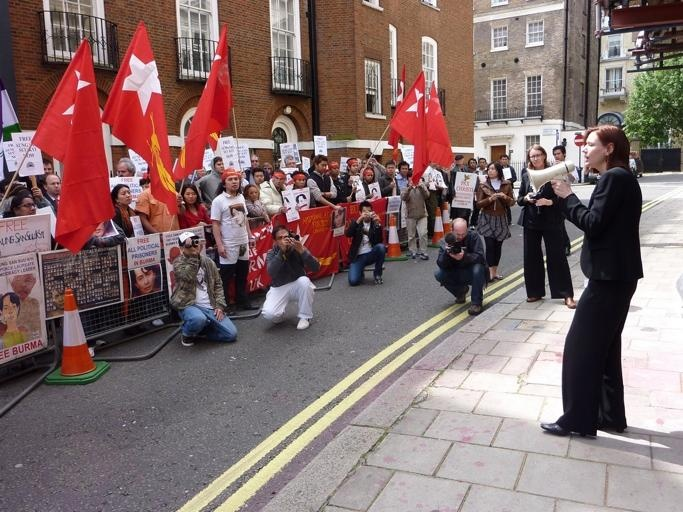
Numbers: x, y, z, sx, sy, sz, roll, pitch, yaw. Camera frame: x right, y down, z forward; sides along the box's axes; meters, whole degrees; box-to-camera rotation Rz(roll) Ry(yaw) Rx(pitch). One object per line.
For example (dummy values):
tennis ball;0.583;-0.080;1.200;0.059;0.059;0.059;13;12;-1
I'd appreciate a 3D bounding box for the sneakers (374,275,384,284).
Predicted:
sneakers;0.723;0.479;10.263;0.151;0.205;0.469;-1;-1;2

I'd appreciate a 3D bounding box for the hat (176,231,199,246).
hat;-2.166;-0.201;7.419;0.243;0.151;0.179;-22;-2;37

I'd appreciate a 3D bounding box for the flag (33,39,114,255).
flag;-3.354;-1.358;6.582;0.822;2.550;1.289;-11;13;-28

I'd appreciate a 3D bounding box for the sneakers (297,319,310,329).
sneakers;-0.548;1.001;7.742;0.185;0.120;0.251;-7;12;-6

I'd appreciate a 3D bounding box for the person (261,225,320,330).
person;-0.754;0.302;7.876;0.769;1.467;0.630;-2;12;16

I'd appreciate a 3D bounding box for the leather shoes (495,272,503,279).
leather shoes;3.050;0.411;10.237;0.083;0.118;0.283;-6;-9;0

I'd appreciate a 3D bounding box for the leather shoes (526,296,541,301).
leather shoes;2.996;0.680;8.275;0.225;0.097;0.078;2;3;-18

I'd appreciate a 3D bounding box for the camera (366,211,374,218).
camera;0.561;-0.785;10.364;0.121;0.122;0.030;1;-7;-12

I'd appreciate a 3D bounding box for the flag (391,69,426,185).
flag;1.557;-2.827;11.839;0.730;2.417;0.777;4;14;37

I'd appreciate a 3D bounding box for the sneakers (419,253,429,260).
sneakers;1.948;0.039;12.531;0.144;0.157;0.349;-2;-2;-2

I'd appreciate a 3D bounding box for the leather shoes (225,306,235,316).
leather shoes;-1.760;0.915;8.557;0.092;0.196;0.255;0;-7;-43

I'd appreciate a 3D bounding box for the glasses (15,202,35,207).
glasses;-3.910;-0.615;6.588;0.055;0.063;0.187;3;15;35

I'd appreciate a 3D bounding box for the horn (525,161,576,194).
horn;1.841;-0.676;4.612;0.333;0.340;0.219;-26;14;10

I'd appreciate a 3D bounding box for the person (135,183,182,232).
person;-2.803;-0.706;8.149;0.386;0.761;0.750;-2;3;28

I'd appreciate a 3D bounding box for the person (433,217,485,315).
person;1.994;0.150;8.488;0.727;1.377;0.922;-12;14;-31

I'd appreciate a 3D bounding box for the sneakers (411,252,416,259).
sneakers;1.728;0.029;12.618;0.078;0.125;0.123;1;-6;5

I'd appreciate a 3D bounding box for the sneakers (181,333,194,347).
sneakers;-2.078;1.136;7.164;0.153;0.174;0.175;-8;12;-11

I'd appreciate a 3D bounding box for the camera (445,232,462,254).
camera;1.826;-0.190;8.433;0.297;0.303;0.198;-10;12;-19

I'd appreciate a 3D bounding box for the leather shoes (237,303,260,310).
leather shoes;-1.545;0.864;8.838;0.377;0.176;0.132;-2;-1;-9

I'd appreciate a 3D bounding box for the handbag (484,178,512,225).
handbag;2.911;-1.024;9.918;0.593;0.910;0.303;0;2;-20

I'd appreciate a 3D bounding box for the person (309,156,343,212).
person;-0.401;-1.592;11.475;0.612;1.125;1.021;-5;12;0

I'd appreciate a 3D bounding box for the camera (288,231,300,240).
camera;-0.700;-0.254;7.988;0.153;0.120;0.274;-1;8;-5

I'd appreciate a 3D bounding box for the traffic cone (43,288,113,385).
traffic cone;-3.139;0.928;6.195;0.599;1.042;0.513;-5;12;2

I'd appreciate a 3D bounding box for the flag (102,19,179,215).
flag;-2.842;-1.904;7.493;0.744;2.648;0.708;-12;13;-30

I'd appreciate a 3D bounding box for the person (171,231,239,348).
person;-1.966;0.451;7.317;0.758;1.497;0.717;-9;12;-20

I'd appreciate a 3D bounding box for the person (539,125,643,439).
person;2.086;0.244;4.364;0.786;2.537;0.391;-8;12;-12
